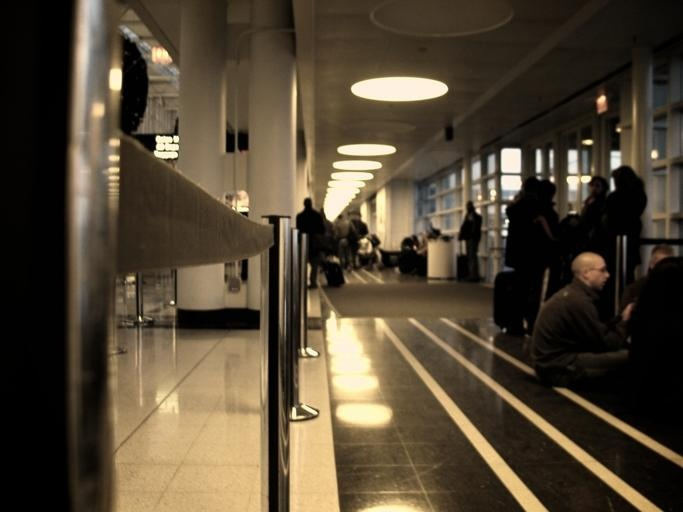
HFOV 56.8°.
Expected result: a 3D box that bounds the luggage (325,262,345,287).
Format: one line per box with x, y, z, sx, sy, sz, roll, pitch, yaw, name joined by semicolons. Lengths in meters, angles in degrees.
-0.108;0.262;11.841;0.366;0.461;0.745;3;31;0;luggage
